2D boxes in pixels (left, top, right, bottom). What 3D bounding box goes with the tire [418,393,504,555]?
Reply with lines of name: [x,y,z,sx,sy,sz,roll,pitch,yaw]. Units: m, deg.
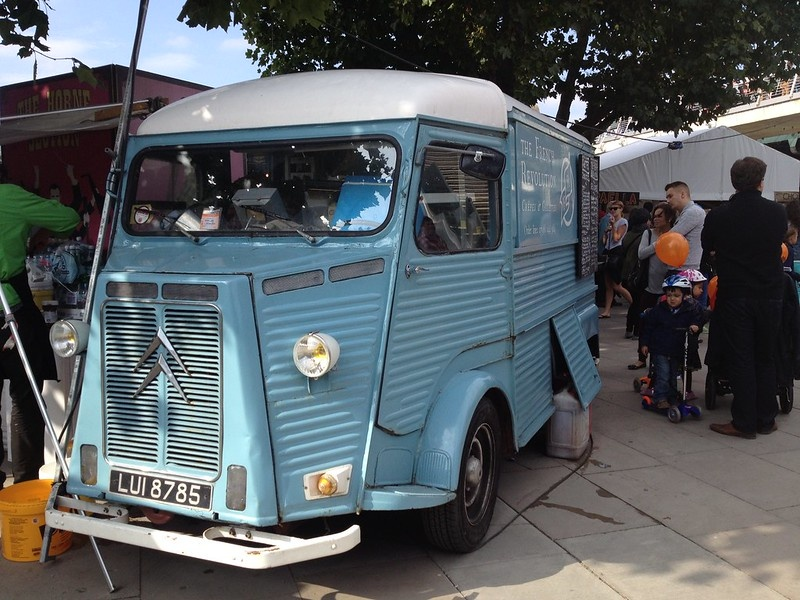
tire: [0.400,1.192,4.357,0.267,0.910,0.811,-2,-35,31]

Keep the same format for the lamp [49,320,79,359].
lamp: [-2.111,0.242,4.039,0.228,0.216,0.097,4,10,20]

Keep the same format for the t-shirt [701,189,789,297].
t-shirt: [3.605,-0.548,6.848,0.948,1.177,0.786,-4,5,5]

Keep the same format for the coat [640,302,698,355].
coat: [3.117,0.319,7.308,0.651,0.631,0.323,4,11,24]

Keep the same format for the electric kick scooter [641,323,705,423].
electric kick scooter: [3.206,0.767,7.579,0.471,1.051,1.075,0,13,-3]

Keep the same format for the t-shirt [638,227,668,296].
t-shirt: [3.559,-0.696,9.266,0.476,0.612,0.674,7,28,18]

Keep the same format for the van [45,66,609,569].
van: [-0.330,-0.032,5.174,2.710,2.329,4.282,3,9,31]

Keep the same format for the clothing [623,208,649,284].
clothing: [4.261,-0.989,11.511,0.459,1.297,0.403,12,23,30]

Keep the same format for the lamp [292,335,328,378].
lamp: [-0.505,0.322,3.656,0.212,0.210,0.153,-9,2,36]

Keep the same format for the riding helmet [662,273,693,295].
riding helmet: [3.136,-0.207,7.215,0.299,0.108,0.209,20,-17,-37]

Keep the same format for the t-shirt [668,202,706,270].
t-shirt: [3.688,-0.815,8.184,0.356,0.876,0.598,4,10,22]
